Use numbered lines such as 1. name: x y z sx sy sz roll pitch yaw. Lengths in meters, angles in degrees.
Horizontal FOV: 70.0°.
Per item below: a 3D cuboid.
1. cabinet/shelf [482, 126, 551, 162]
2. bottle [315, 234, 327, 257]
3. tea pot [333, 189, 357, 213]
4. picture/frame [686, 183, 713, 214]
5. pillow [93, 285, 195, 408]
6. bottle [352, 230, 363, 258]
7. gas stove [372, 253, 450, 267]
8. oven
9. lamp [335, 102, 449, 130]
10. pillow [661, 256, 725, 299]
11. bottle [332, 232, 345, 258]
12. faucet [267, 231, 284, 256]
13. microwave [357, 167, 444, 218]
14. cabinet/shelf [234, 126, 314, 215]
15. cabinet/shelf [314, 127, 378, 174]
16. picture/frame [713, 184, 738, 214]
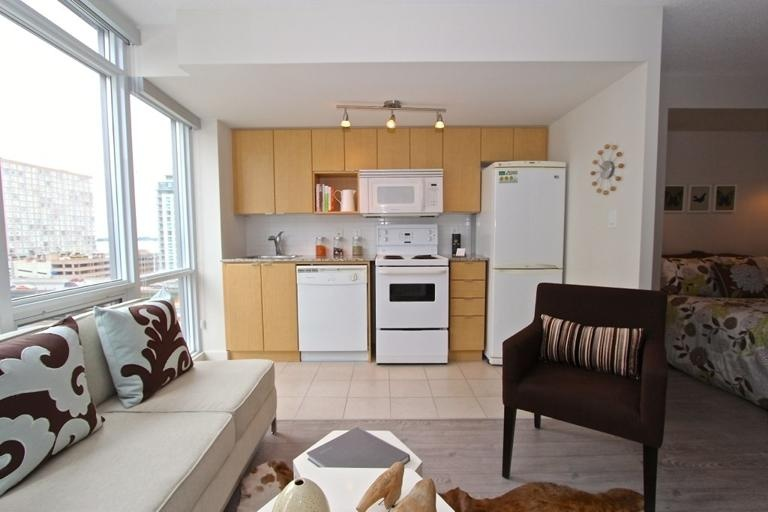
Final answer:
1. cabinet/shelf: 1.339 -1.164 5.574 0.486 0.265 0.137 0 0 -2
2. bottle: -0.674 -0.101 5.812 0.123 0.216 0.233 -1 6 -7
3. tea pot: -0.405 -0.579 5.705 0.228 0.234 0.172 -1 6 -3
4. picture/frame: 3.409 -0.645 5.919 0.323 0.396 0.036 1 0 6
5. pillow: -1.656 0.620 3.858 0.396 0.649 0.787 11 9 9
6. bottle: -0.280 -0.127 5.856 0.122 0.253 0.155 -1 6 -3
7. gas stove: 0.267 0.039 5.511 0.718 0.084 0.533 -1 5 0
8. oven: 0.274 0.389 5.477 0.746 0.640 0.545 1 10 4
9. lamp: 0.076 -1.295 5.133 1.015 0.276 0.720 0 5 2
10. pillow: 2.985 0.177 5.391 0.462 0.453 0.186 0 -34 19
11. bottle: -0.494 -0.123 5.858 0.132 0.244 0.179 -1 6 -4
12. faucet: -1.144 -0.138 5.807 0.162 0.255 0.291 -2 6 -11
13. microwave: 0.141 -0.516 5.686 0.783 0.397 0.467 0 -1 -1
14. cabinet/shelf: -1.138 -0.927 5.590 0.917 0.842 0.293 -1 5 0
15. cabinet/shelf: -0.420 -1.092 5.599 0.826 0.505 0.414 0 7 -1
16. picture/frame: 3.682 -0.639 5.912 0.312 0.417 0.042 2 -1 5
